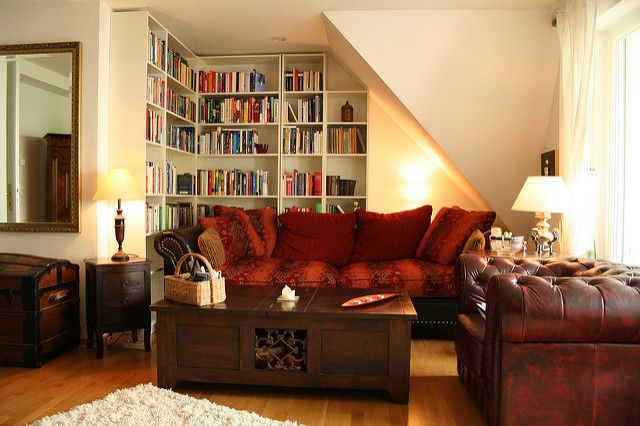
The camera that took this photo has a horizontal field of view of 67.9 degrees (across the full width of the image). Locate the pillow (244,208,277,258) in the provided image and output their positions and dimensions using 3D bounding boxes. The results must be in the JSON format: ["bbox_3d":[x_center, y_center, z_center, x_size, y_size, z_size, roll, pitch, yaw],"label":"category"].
[{"bbox_3d":[-0.749,0.235,5.397,0.153,0.459,0.499,-17,-2,26],"label":"pillow"}]

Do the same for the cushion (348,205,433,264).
[{"bbox_3d":[0.771,0.261,5.181,0.666,0.426,0.223,-2,7,1],"label":"cushion"}]

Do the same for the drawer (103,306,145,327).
[{"bbox_3d":[-1.764,0.933,4.283,0.331,0.168,0.030,-1,2,-25],"label":"drawer"}]

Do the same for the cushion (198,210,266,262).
[{"bbox_3d":[-0.938,0.268,5.056,0.174,0.542,0.577,-33,-6,36],"label":"cushion"}]

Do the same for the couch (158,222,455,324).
[{"bbox_3d":[-0.129,0.466,4.637,2.830,0.686,1.090,0,1,2],"label":"couch"}]

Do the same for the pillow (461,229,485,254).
[{"bbox_3d":[1.483,0.286,4.575,0.091,0.215,0.229,22,0,-10],"label":"pillow"}]

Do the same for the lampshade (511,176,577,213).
[{"bbox_3d":[2.072,-0.135,4.328,0.636,0.318,0.629,8,-1,18],"label":"lampshade"}]

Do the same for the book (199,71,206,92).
[{"bbox_3d":[-1.433,-1.587,5.751,0.048,0.184,0.192,1,7,-10],"label":"book"}]

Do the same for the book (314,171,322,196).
[{"bbox_3d":[-0.021,-0.356,5.789,0.053,0.214,0.219,7,-3,-16],"label":"book"}]

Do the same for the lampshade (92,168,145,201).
[{"bbox_3d":[-1.857,-0.240,4.406,0.321,0.254,0.333,0,2,30],"label":"lampshade"}]

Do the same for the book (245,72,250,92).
[{"bbox_3d":[-0.876,-1.575,5.758,0.054,0.217,0.029,0,2,1],"label":"book"}]

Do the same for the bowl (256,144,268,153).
[{"bbox_3d":[-0.710,-0.791,5.869,0.120,0.086,0.116,-1,2,0],"label":"bowl"}]

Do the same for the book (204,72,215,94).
[{"bbox_3d":[-1.332,-1.570,5.744,0.135,0.222,0.237,-1,10,-1],"label":"book"}]

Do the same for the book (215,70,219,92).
[{"bbox_3d":[-1.240,-1.577,5.751,0.045,0.236,0.009,0,2,-17],"label":"book"}]

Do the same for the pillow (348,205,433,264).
[{"bbox_3d":[0.771,0.261,5.181,0.655,0.422,0.221,-2,-28,8],"label":"pillow"}]

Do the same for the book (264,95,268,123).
[{"bbox_3d":[-0.648,-1.248,5.750,0.036,0.307,0.036,-2,2,-43],"label":"book"}]

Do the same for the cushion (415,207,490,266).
[{"bbox_3d":[1.310,0.221,4.778,0.167,0.567,0.602,31,-3,-21],"label":"cushion"}]

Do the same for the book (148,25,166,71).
[{"bbox_3d":[-1.678,-1.733,4.930,0.157,0.439,0.338,0,2,-17],"label":"book"}]

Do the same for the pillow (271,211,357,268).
[{"bbox_3d":[-0.044,0.313,5.208,0.633,0.407,0.217,2,4,7],"label":"pillow"}]

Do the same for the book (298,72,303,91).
[{"bbox_3d":[-0.233,-1.593,5.743,0.054,0.215,0.020,0,2,2],"label":"book"}]

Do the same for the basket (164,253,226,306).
[{"bbox_3d":[-1.016,0.519,3.852,0.484,0.349,0.311,1,2,32],"label":"basket"}]

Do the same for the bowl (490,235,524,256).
[{"bbox_3d":[1.683,0.294,4.271,0.205,0.119,0.193,0,-4,0],"label":"bowl"}]
